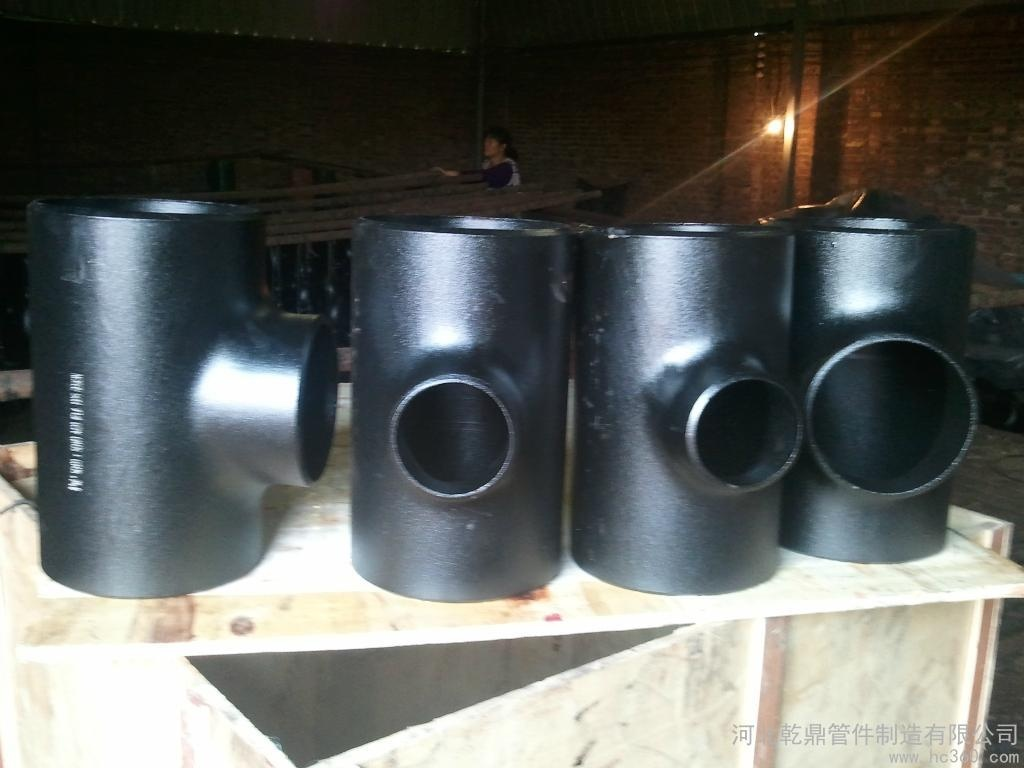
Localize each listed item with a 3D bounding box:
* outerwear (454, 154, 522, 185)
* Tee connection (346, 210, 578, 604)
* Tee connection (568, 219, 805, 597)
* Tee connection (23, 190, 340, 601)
[{"bbox_3d":[-0.149,-1.410,6.162,0.472,0.166,0.256,0,23,-9],"label":"outerwear"},{"bbox_3d":[-0.056,0.021,1.052,0.261,0.441,0.203,0,5,-5],"label":"Tee connection"},{"bbox_3d":[0.192,0.031,1.038,0.245,0.415,0.123,0,5,3],"label":"Tee connection"},{"bbox_3d":[-0.361,0.021,1.027,0.301,0.427,0.086,-1,5,-14],"label":"Tee connection"}]
